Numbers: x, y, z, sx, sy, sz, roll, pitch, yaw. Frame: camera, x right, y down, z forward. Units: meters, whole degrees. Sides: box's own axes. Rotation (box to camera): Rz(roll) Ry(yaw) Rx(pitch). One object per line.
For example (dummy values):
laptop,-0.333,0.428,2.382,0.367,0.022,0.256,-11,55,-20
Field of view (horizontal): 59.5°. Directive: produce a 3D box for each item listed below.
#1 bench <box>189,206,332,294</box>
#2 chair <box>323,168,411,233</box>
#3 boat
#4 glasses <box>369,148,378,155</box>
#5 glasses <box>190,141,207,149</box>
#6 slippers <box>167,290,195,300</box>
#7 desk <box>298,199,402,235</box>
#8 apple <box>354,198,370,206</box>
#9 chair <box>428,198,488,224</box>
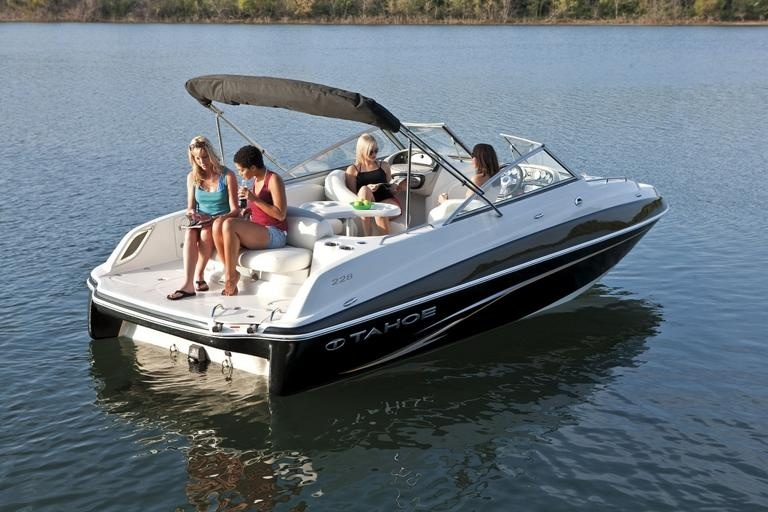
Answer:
bench,-1.736,-0.269,8.483,1.926,1.218,1.351,0,13,-11
chair,-0.556,-0.748,9.167,1.602,0.800,0.924,-2,21,7
boat,-0.304,-0.528,8.571,5.959,3.401,2.853,-13,28,-33
glasses,-0.174,-1.415,9.157,0.150,0.098,0.037,-2,34,-28
glasses,-2.206,-1.308,7.978,0.157,0.049,0.089,5,53,-8
slippers,-2.394,0.452,7.902,0.319,0.052,0.109,-3,8,-33
desk,-0.428,-0.386,8.772,1.472,0.426,0.478,-2,34,-4
apple,-0.289,-0.686,8.621,0.238,0.053,0.175,2,1,5
chair,0.873,-0.587,8.550,0.652,0.160,0.404,-20,25,-13
